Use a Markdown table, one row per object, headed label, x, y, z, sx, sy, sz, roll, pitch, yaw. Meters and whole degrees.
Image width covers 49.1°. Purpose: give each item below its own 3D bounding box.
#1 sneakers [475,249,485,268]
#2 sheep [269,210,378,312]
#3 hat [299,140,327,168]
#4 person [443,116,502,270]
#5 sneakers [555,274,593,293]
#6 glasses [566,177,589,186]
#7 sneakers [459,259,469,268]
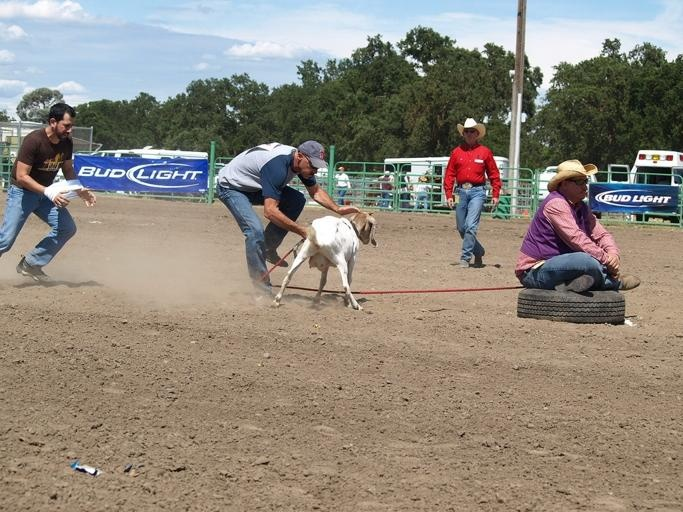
| label | x | y | z | sx | sy | sz | roll | pitch | yaw |
| --- | --- | --- | --- | --- | --- | --- | --- | --- | --- |
| sneakers | 2.205 | 0.040 | 12.033 | 0.108 | 0.297 | 0.213 | -1 | -32 | 21 |
| sheep | -0.126 | 0.035 | 8.127 | 0.812 | 1.017 | 1.053 | 5 | 8 | 13 |
| hat | -0.307 | -1.070 | 7.916 | 0.297 | 0.290 | 0.398 | 3 | 7 | -4 |
| person | 2.110 | -1.042 | 12.152 | 0.888 | 2.412 | 1.482 | 5 | 8 | 9 |
| sneakers | 2.422 | 0.299 | 7.780 | 0.305 | 0.069 | 0.169 | 0 | -31 | 15 |
| glasses | 2.456 | -0.772 | 7.777 | 0.233 | 0.080 | 0.110 | -2 | 9 | -33 |
| sneakers | 1.915 | 0.119 | 11.696 | 0.151 | 0.144 | 0.254 | 4 | 7 | 7 |
